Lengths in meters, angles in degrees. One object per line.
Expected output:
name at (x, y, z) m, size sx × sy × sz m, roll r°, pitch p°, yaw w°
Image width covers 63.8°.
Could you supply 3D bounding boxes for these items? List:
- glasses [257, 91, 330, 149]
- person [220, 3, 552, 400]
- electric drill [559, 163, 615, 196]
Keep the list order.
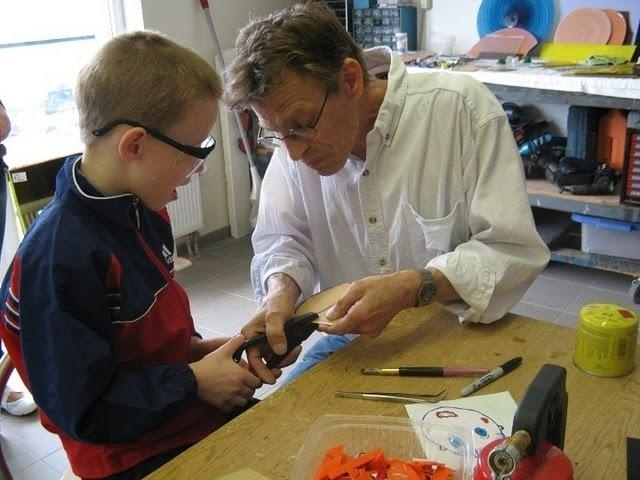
glasses at (-0.107, -0.329, 1.424) m, size 0.139 × 0.152 × 0.264 m, roll -20°, pitch 25°, yaw -39°
person at (0.248, 0.043, 1.617) m, size 0.765 × 1.338 × 0.689 m, roll 9°, pitch 21°, yaw 31°
electric drill at (1.557, -0.345, 2.946) m, size 0.312 × 0.159 × 0.090 m, roll -4°, pitch 18°, yaw 1°
